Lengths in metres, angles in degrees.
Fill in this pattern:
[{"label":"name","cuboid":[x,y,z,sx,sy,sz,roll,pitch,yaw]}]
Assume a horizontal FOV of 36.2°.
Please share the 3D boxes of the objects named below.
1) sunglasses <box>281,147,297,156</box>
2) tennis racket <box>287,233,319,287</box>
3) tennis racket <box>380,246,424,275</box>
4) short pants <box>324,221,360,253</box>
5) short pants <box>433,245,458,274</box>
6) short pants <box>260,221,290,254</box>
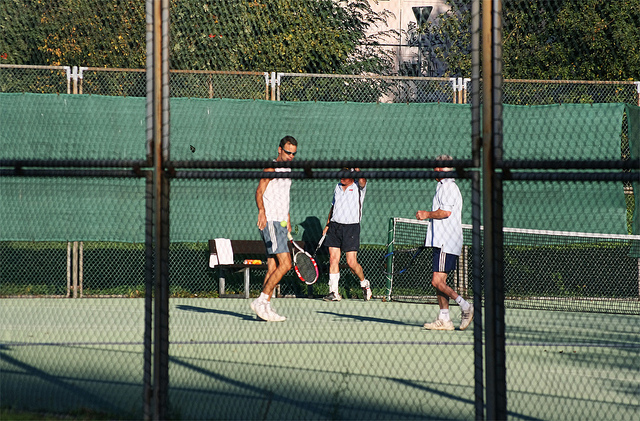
[{"label":"sunglasses","cuboid":[-0.444,-0.840,13.871,0.210,0.110,0.127,-2,5,-16]},{"label":"tennis racket","cuboid":[-0.303,0.658,14.988,0.381,0.099,1.323,1,47,-20]},{"label":"tennis racket","cuboid":[1.644,0.961,17.831,1.304,0.493,0.186,-7,-15,23]},{"label":"short pants","cuboid":[0.402,0.448,15.884,0.602,0.632,0.388,10,4,34]},{"label":"short pants","cuboid":[1.761,0.717,14.069,0.443,0.506,0.276,2,7,-38]},{"label":"short pants","cuboid":[-0.635,0.417,14.279,0.332,0.649,0.604,-2,-3,-5]}]
